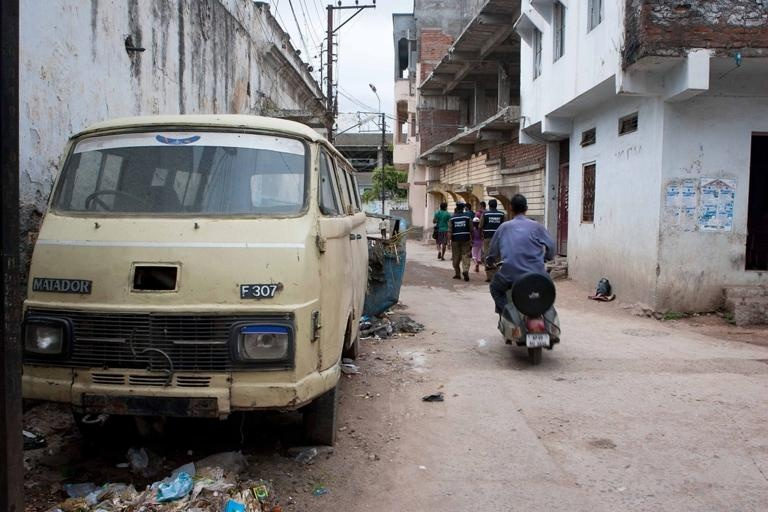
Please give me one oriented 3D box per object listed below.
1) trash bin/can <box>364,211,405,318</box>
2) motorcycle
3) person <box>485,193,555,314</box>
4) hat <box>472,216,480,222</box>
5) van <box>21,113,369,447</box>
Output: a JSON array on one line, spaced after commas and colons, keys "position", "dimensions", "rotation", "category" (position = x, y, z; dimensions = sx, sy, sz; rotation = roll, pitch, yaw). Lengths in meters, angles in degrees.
[{"position": [-0.005, 0.260, 10.680], "dimensions": [0.560, 1.683, 1.430], "rotation": [2, 12, 8], "category": "trash bin/can"}, {"position": [1.962, 0.800, 8.755], "dimensions": [0.735, 1.299, 0.631], "rotation": [2, 12, 6], "category": "motorcycle"}, {"position": [1.924, -0.023, 9.282], "dimensions": [0.842, 1.683, 0.940], "rotation": [1, 6, 8], "category": "person"}, {"position": [2.535, -1.034, 18.281], "dimensions": [0.269, 0.098, 0.275], "rotation": [-3, 3, -2], "category": "hat"}, {"position": [-1.675, 0.173, 7.567], "dimensions": [1.969, 2.012, 3.762], "rotation": [0, -4, 2], "category": "van"}]
